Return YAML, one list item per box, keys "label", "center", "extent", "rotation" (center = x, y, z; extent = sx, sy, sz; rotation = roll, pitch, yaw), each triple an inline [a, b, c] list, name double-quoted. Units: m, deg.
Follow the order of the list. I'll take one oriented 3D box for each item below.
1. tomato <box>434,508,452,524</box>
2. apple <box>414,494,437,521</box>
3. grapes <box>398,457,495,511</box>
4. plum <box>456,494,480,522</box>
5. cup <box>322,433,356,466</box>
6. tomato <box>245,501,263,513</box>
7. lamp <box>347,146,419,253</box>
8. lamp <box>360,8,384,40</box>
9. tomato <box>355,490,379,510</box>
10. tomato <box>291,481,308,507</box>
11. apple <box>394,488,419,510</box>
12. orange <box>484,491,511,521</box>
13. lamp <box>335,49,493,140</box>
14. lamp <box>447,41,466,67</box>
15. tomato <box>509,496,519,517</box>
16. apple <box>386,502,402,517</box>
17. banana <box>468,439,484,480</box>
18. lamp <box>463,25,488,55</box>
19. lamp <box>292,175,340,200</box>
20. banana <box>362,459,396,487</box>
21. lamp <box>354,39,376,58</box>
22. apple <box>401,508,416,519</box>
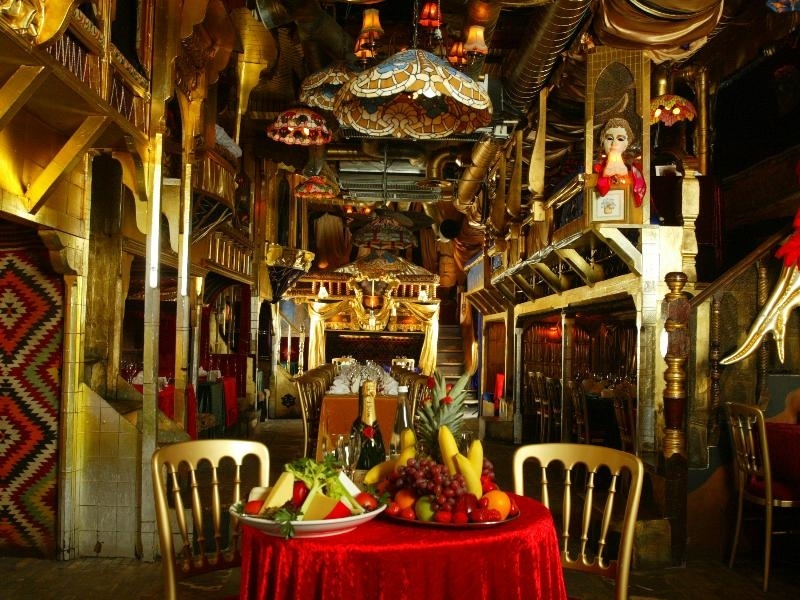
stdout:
- label: "tomato"
  center: [0.229, 1.113, 4.357]
  extent: [0.060, 0.069, 0.064]
  rotation: [0, -2, 45]
- label: "apple"
  center: [0.136, 1.097, 4.453]
  extent: [0.099, 0.137, 0.110]
  rotation: [-4, -17, 18]
- label: "grapes"
  center: [0.169, 0.971, 4.559]
  extent: [0.527, 0.239, 0.381]
  rotation: [8, -3, -25]
- label: "plum"
  center: [0.356, 1.086, 4.378]
  extent: [0.074, 0.137, 0.097]
  rotation: [19, -33, -21]
- label: "cup"
  center: [-0.328, 0.826, 4.645]
  extent: [0.147, 0.181, 0.155]
  rotation: [0, -8, 0]
- label: "tomato"
  center: [-0.771, 1.082, 4.401]
  extent: [0.054, 0.046, 0.059]
  rotation: [-2, -6, 24]
- label: "lamp"
  center: [-0.284, -1.810, 16.032]
  extent: [1.767, 1.768, 1.572]
  rotation: [-4, 6, -39]
- label: "lamp"
  center: [-0.237, -2.579, 7.870]
  extent: [0.259, 0.302, 0.268]
  rotation: [-4, 7, -26]
- label: "tomato"
  center: [-0.167, 1.061, 4.444]
  extent: [0.088, 0.099, 0.091]
  rotation: [32, 4, 34]
- label: "tomato"
  center: [-0.518, 0.998, 4.326]
  extent: [0.069, 0.139, 0.053]
  rotation: [11, -13, 9]
- label: "apple"
  center: [0.043, 1.040, 4.463]
  extent: [0.092, 0.103, 0.096]
  rotation: [-4, 7, -19]
- label: "orange"
  center: [0.521, 1.077, 4.431]
  extent: [0.124, 0.164, 0.128]
  rotation: [0, 2, 3]
- label: "lamp"
  center: [0.068, -1.360, 5.609]
  extent: [1.057, 0.432, 0.841]
  rotation: [-1, -15, 6]
- label: "lamp"
  center: [0.543, -2.373, 8.048]
  extent: [0.179, 0.257, 0.178]
  rotation: [-8, 16, -35]
- label: "tomato"
  center: [0.629, 1.133, 4.596]
  extent: [0.035, 0.068, 0.071]
  rotation: [-19, 36, 12]
- label: "apple"
  center: [-0.034, 1.104, 4.437]
  extent: [0.060, 0.089, 0.059]
  rotation: [2, -6, -45]
- label: "banana"
  center: [0.425, 0.851, 4.575]
  extent: [0.061, 0.230, 0.070]
  rotation: [-9, 3, -1]
- label: "lamp"
  center: [0.738, -2.451, 7.955]
  extent: [0.243, 0.268, 0.232]
  rotation: [0, 4, -20]
- label: "lamp"
  center: [-1.280, -1.728, 12.834]
  extent: [0.628, 0.421, 0.499]
  rotation: [3, -15, -9]
- label: "banana"
  center: [-0.115, 0.977, 4.736]
  extent: [0.183, 0.053, 0.062]
  rotation: [-29, 26, -6]
- label: "lamp"
  center: [-0.320, -2.354, 7.885]
  extent: [0.162, 0.178, 0.171]
  rotation: [8, 12, 28]
- label: "apple"
  center: [0.047, 1.119, 4.406]
  extent: [0.059, 0.052, 0.048]
  rotation: [1, -8, -1]
